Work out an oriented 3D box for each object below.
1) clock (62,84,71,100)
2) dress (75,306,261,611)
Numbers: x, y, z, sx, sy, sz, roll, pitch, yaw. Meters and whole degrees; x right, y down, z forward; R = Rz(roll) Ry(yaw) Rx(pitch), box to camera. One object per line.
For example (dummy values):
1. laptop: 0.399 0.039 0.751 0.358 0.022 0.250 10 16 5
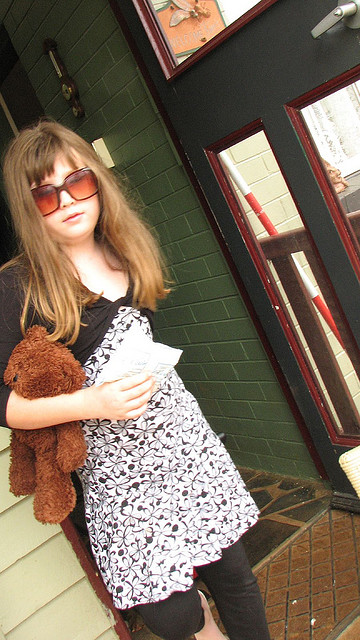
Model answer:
1. clock: -0.614 -1.248 2.509 0.017 0.082 0.082 -20 4 -26
2. dress: -0.087 0.333 1.107 0.448 0.695 0.190 -17 7 -25
